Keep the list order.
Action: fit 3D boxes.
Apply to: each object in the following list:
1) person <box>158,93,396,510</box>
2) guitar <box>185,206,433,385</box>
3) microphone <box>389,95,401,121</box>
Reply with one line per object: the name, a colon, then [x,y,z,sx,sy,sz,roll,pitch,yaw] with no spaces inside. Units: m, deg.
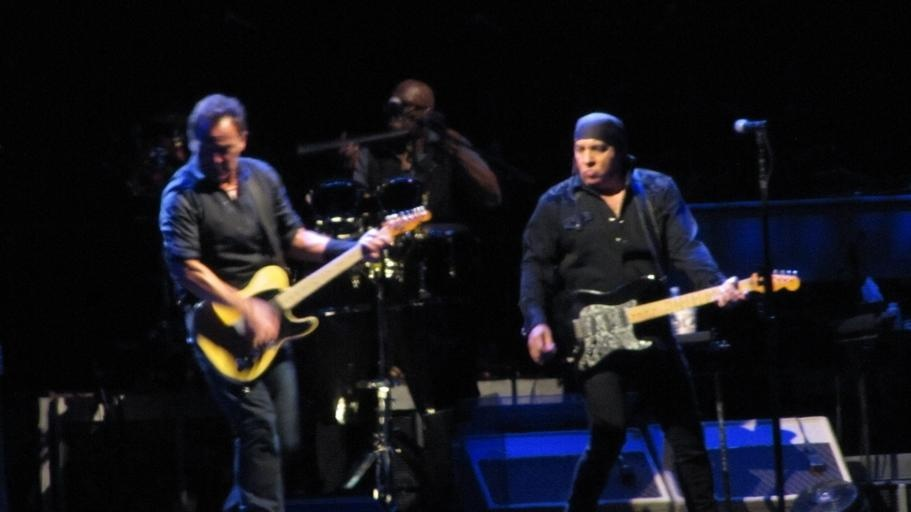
person: [-1.529,0.351,7.388,1.239,3.170,0.430,-6,-7,-7]
guitar: [-1.170,0.344,7.598,1.545,0.517,0.209,-31,-1,-20]
microphone: [-0.519,-1.265,8.289,0.137,0.163,0.047,0,-3,13]
